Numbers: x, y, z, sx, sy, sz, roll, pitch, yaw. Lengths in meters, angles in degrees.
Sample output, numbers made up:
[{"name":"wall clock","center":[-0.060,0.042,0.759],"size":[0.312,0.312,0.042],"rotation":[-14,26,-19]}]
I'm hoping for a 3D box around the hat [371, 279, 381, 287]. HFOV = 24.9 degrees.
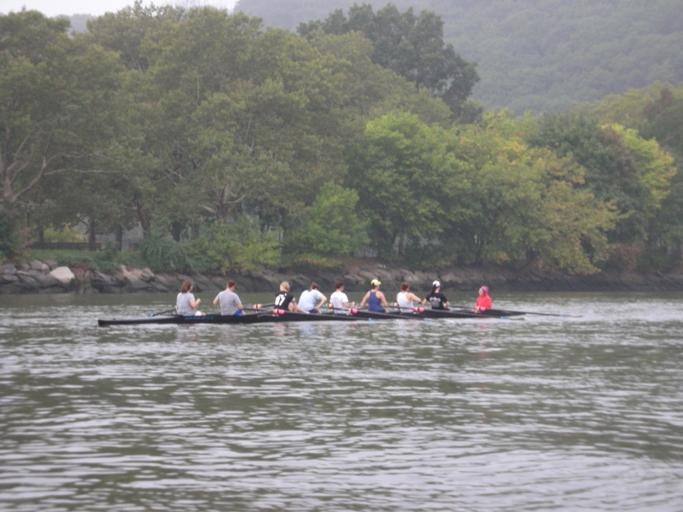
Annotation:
[{"name":"hat","center":[3.111,2.225,136.738],"size":[0.787,0.455,0.575],"rotation":[-18,28,-35]}]
